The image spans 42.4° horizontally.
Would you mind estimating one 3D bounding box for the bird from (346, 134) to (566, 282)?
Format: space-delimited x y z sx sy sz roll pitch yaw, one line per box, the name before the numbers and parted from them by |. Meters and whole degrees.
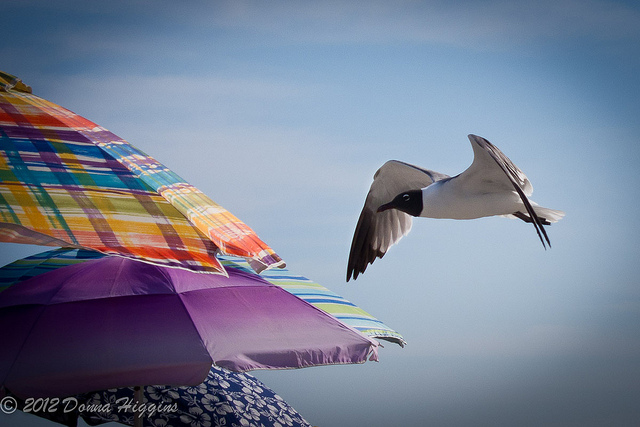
bird | 0.790 0.001 5.142 0.787 0.800 1.507 3 1 -29
